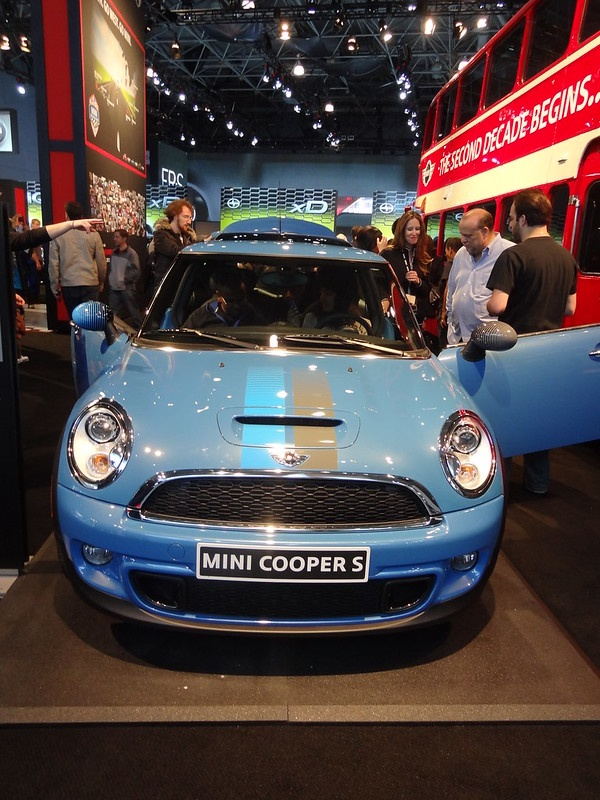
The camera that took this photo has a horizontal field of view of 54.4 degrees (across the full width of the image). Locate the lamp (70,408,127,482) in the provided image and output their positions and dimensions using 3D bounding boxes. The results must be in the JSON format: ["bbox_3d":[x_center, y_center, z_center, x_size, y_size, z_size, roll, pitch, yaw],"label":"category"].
[{"bbox_3d":[-0.628,0.145,1.838,0.169,0.207,0.285,-4,15,-29],"label":"lamp"}]

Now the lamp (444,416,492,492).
[{"bbox_3d":[0.512,0.197,1.954,0.219,0.225,0.056,4,-21,-34],"label":"lamp"}]

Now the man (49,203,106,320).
[{"bbox_3d":[-3.015,-1.809,7.956,0.661,2.001,0.440,0,49,-20],"label":"man"}]

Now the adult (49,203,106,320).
[{"bbox_3d":[-3.011,-1.805,7.969,0.668,2.030,0.444,-4,52,-21],"label":"adult"}]

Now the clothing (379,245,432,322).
[{"bbox_3d":[0.961,-1.036,5.011,0.562,0.727,0.257,-5,-3,-35],"label":"clothing"}]
